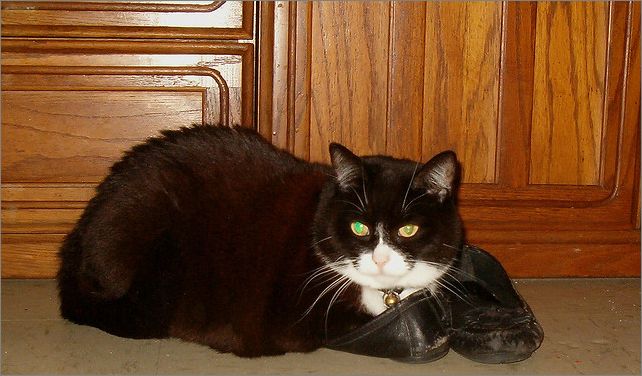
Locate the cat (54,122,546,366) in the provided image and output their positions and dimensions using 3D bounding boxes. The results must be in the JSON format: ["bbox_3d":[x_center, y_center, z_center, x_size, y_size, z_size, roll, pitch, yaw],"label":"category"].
[{"bbox_3d":[-0.097,0.226,3.335,2.310,0.932,1.111,2,9,4],"label":"cat"}]
